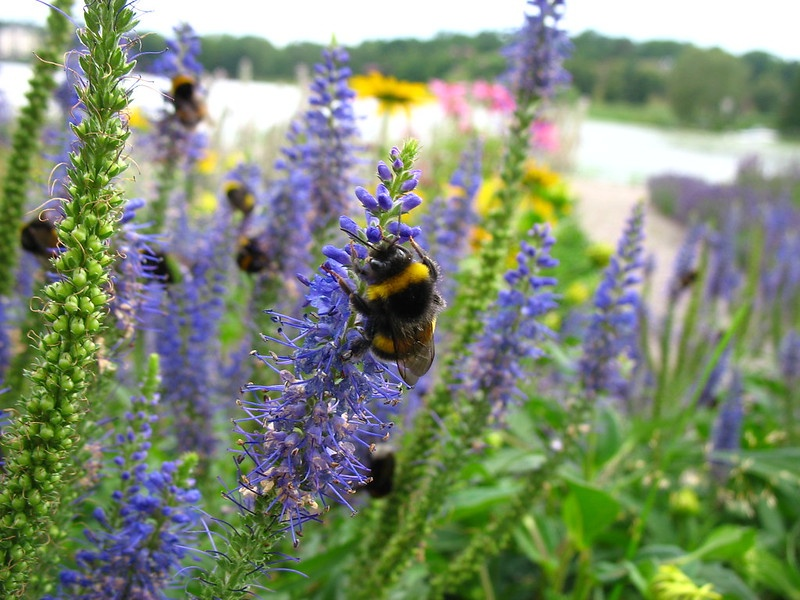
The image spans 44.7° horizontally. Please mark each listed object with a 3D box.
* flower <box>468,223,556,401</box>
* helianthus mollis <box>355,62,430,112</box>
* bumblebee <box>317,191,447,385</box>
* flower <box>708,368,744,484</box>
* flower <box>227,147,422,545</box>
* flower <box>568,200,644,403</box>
[{"bbox_3d":[0.294,0.037,2.574,0.188,0.501,0.308,5,10,-6],"label":"flower"},{"bbox_3d":[-0.034,-0.787,3.692,0.324,0.115,0.307,11,-1,9],"label":"helianthus mollis"},{"bbox_3d":[-0.077,0.026,2.407,0.134,0.394,0.273,9,38,46],"label":"bumblebee"},{"bbox_3d":[0.866,0.332,2.621,0.076,0.302,0.087,12,6,7],"label":"flower"},{"bbox_3d":[-0.207,0.133,2.492,0.424,1.088,0.717,6,10,-3],"label":"flower"},{"bbox_3d":[0.576,-0.001,2.644,0.133,0.536,0.200,8,11,13],"label":"flower"}]
